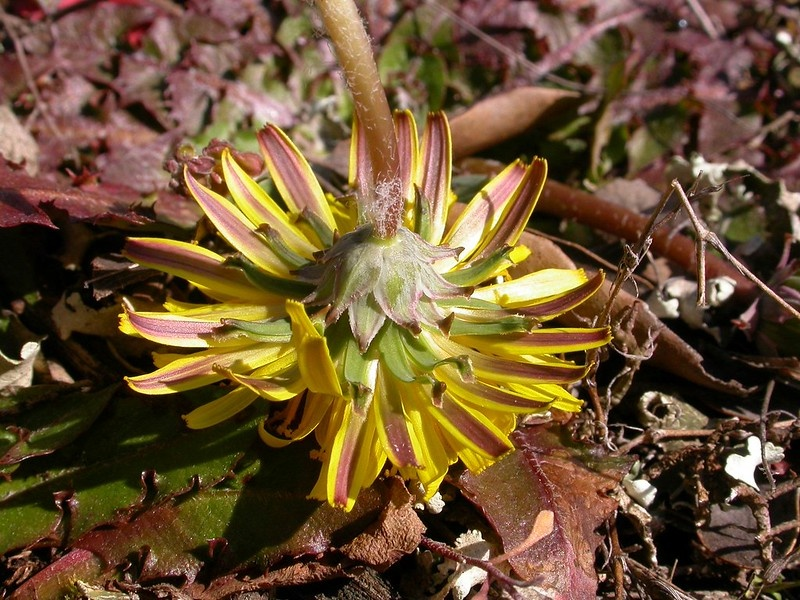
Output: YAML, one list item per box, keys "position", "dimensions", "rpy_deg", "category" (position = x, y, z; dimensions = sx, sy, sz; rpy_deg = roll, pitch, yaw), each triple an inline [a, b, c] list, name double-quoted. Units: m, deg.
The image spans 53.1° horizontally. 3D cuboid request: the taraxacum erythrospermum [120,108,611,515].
- position: [-0.088, 0.025, 1.384]
  dimensions: [0.798, 0.263, 0.736]
  rpy_deg: [3, 34, -34]
  category: "taraxacum erythrospermum"
